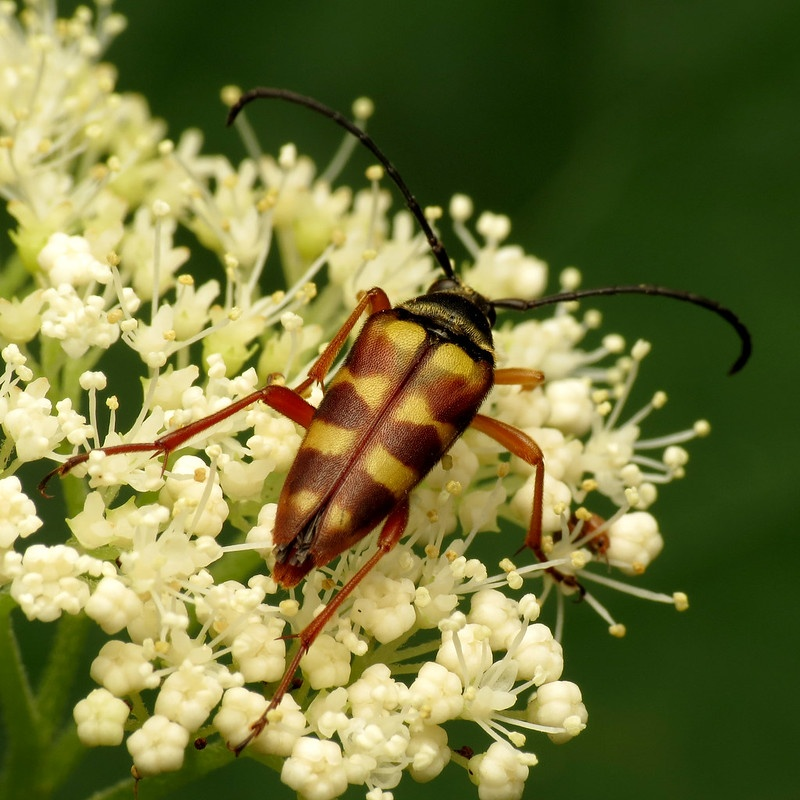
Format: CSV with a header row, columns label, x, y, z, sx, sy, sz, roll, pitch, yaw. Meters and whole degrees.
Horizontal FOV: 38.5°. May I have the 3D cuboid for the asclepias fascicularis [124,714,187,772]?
label,x,y,z,sx,sy,sz,roll,pitch,yaw
asclepias fascicularis,-0.670,0.936,3.146,0.163,0.149,0.042,-9,-13,-5

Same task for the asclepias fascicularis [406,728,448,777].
label,x,y,z,sx,sy,sz,roll,pitch,yaw
asclepias fascicularis,0.070,1.040,3.308,0.122,0.154,0.075,20,20,16
